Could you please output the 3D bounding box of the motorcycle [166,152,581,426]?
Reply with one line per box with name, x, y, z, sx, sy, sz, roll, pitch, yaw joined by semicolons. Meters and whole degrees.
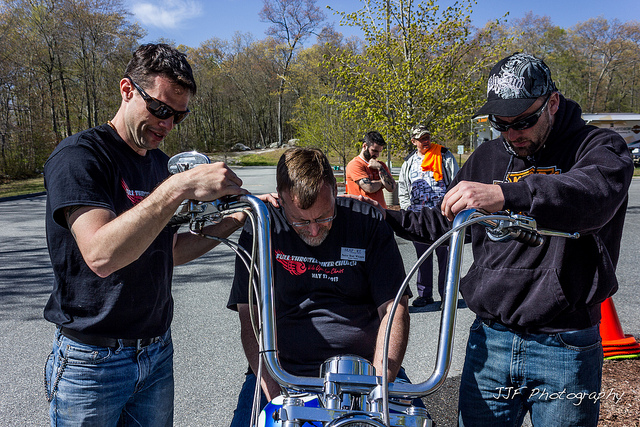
motorcycle;0.110;0.526;3.148;2.245;1.746;0.915;2;8;19
